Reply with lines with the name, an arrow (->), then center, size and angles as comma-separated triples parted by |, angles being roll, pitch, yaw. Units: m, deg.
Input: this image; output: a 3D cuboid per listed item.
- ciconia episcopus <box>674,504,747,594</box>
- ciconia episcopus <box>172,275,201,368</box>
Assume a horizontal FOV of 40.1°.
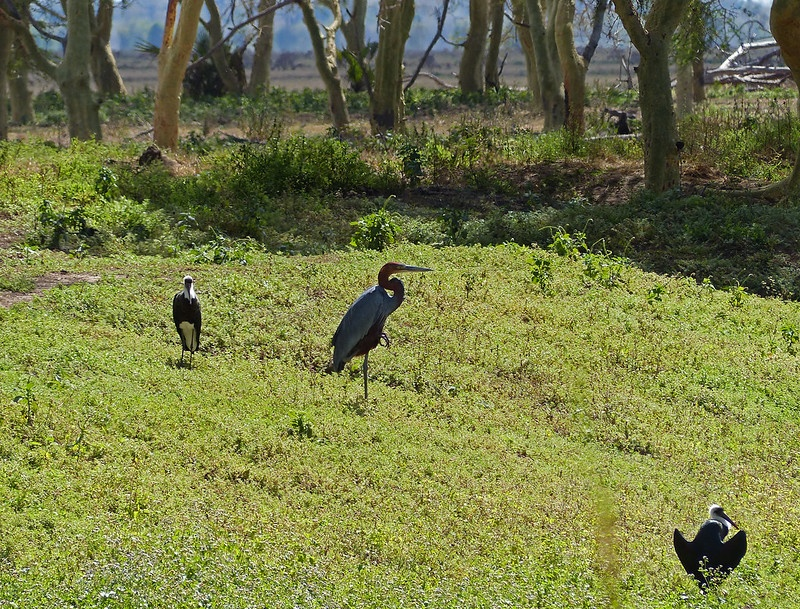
ciconia episcopus -> 3.313, 2.615, 11.819 | 0.746, 0.978, 0.755 | 4, -23, 20
ciconia episcopus -> -2.707, 0.203, 14.045 | 0.320, 1.152, 0.250 | -4, 12, -14
